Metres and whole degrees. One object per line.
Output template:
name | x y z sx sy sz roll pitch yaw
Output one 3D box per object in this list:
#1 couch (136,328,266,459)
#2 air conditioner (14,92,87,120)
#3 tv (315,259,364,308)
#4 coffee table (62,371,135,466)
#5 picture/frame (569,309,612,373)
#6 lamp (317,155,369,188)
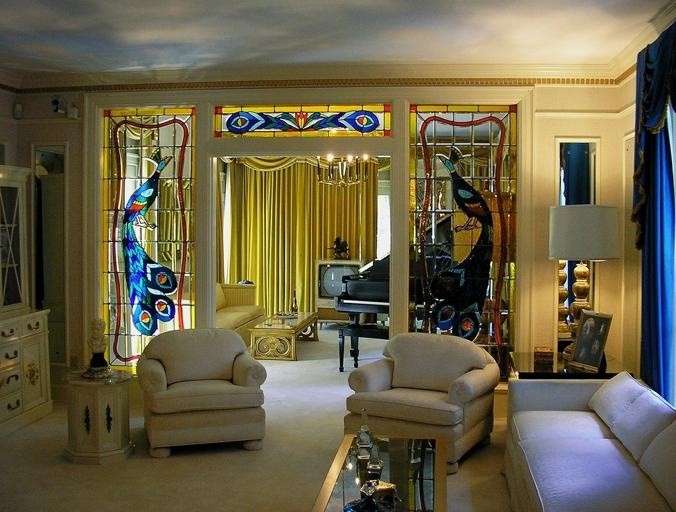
couch | -1.215 1.210 5.255 1.160 0.967 0.949 2 -1 -37
air conditioner | -3.148 -1.617 6.300 0.797 0.287 0.145 1 6 12
tv | 0.005 0.508 10.112 0.738 0.757 0.415 1 -23 3
coffee table | -1.980 1.403 5.029 0.571 0.686 0.634 -4 -10 -14
picture/frame | 2.179 0.718 5.001 0.253 0.485 0.315 -2 5 -24
lamp | -0.014 -1.419 9.889 0.907 0.519 0.979 0 5 10
